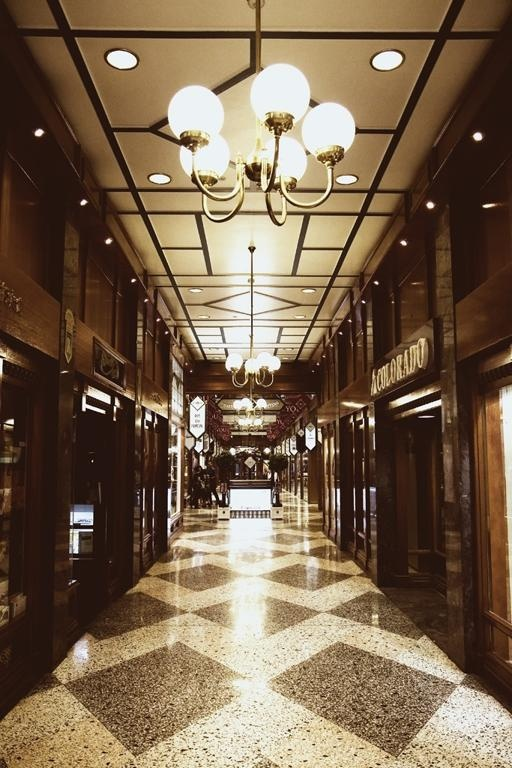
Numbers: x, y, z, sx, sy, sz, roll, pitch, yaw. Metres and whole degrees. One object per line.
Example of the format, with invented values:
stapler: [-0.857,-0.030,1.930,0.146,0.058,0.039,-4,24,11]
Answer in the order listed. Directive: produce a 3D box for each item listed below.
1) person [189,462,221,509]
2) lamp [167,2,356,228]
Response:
person: [-1.594,3.041,16.049,0.801,1.293,2.323,1,-8,-8]
lamp: [0.027,-1.544,3.014,0.629,1.329,0.751,-7,-16,34]
